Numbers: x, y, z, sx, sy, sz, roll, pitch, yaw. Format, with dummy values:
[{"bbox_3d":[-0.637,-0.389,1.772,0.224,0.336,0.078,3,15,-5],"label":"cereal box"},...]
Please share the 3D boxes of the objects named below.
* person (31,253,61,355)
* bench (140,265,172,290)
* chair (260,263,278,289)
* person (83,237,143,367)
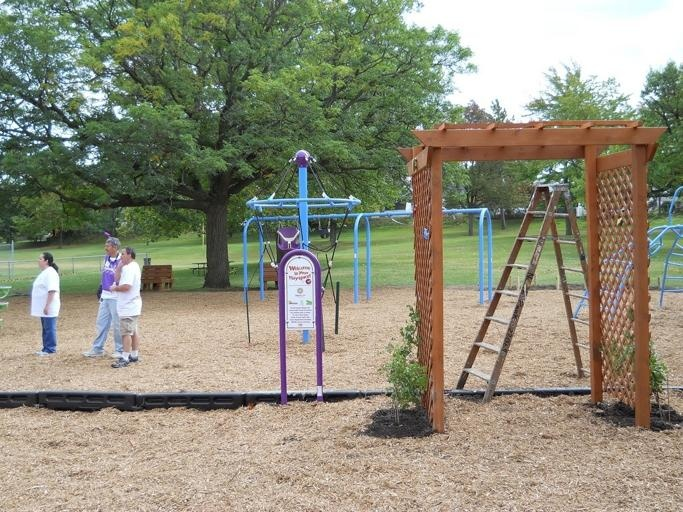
[{"bbox_3d":[-5.250,0.804,15.932,0.476,1.759,1.425,-2,3,-18],"label":"person"},{"bbox_3d":[-5.719,0.663,27.751,0.785,0.497,0.335,0,3,-39],"label":"bench"},{"bbox_3d":[-1.963,0.575,24.552,0.581,0.742,0.777,0,0,0],"label":"chair"},{"bbox_3d":[-3.940,0.706,14.991,0.557,2.061,1.156,-2,3,-23],"label":"person"}]
